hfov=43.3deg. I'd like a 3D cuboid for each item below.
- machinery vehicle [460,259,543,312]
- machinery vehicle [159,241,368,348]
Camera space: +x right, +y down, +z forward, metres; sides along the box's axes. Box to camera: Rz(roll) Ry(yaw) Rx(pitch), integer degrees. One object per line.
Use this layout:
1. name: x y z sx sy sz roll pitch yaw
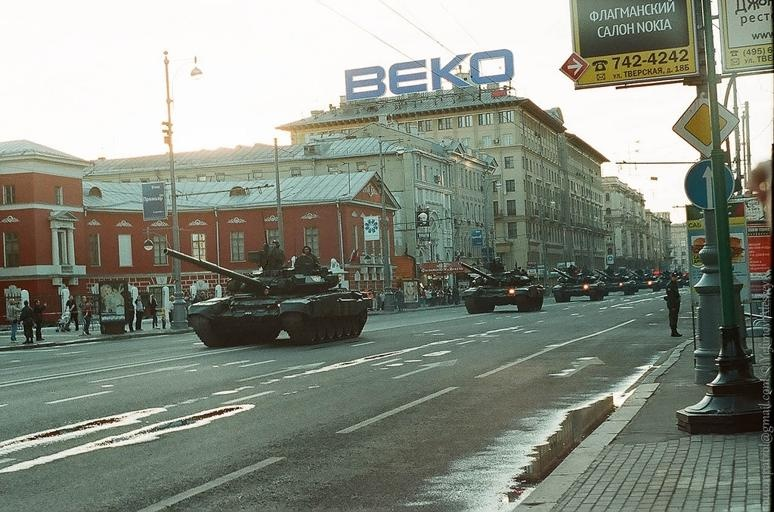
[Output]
1. machinery vehicle: 5.970 1.672 50.704 3.880 2.637 2.477 -1 1 3
2. machinery vehicle: -3.474 1.240 30.842 5.486 3.193 3.617 -2 1 -13
